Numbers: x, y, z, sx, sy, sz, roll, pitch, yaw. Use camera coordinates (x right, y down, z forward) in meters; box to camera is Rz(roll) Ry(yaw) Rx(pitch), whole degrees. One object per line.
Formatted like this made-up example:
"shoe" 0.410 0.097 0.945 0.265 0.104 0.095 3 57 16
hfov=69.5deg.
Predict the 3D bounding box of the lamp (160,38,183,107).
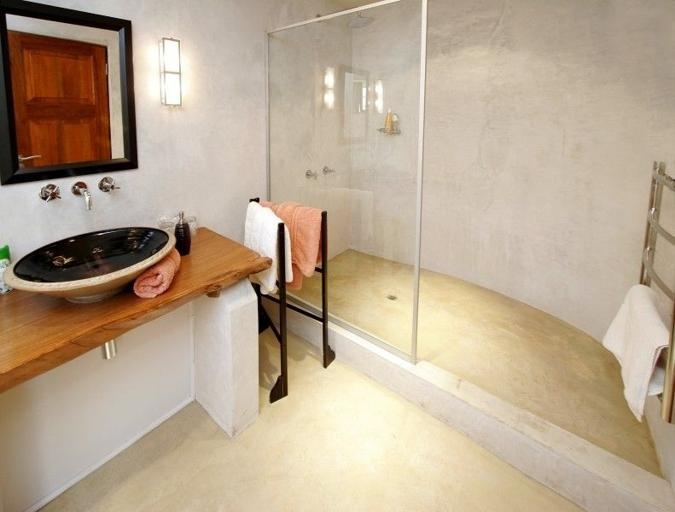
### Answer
"lamp" -0.917 -0.995 2.633 0.129 0.337 0.052 -9 19 -21

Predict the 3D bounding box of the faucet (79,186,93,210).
"faucet" -1.241 -0.277 2.393 0.043 0.120 0.131 -11 20 -26

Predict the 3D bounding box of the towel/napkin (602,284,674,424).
"towel/napkin" 1.257 0.394 2.009 0.203 0.323 0.530 -2 25 14

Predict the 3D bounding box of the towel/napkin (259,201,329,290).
"towel/napkin" -0.247 -0.067 2.678 0.368 0.452 0.115 -26 -12 29

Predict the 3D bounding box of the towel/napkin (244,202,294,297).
"towel/napkin" -0.370 -0.040 2.613 0.145 0.357 0.422 -4 18 -24
